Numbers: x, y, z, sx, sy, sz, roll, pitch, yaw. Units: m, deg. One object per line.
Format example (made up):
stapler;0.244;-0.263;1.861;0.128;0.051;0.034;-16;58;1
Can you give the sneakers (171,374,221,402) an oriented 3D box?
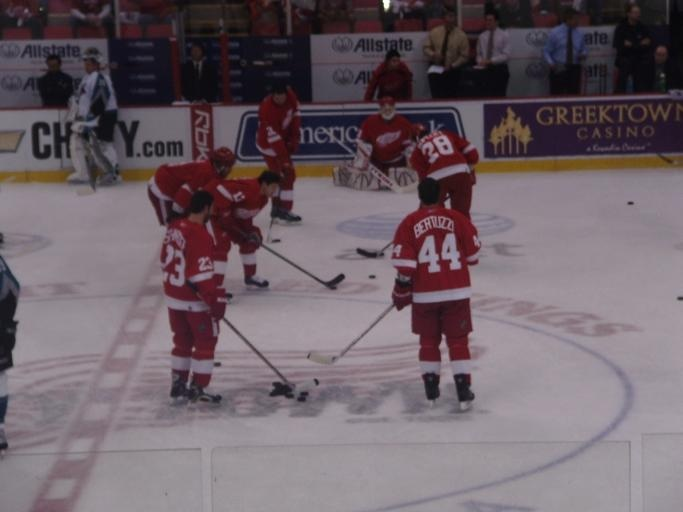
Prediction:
sneakers;-1.105;1.037;7.258;0.490;0.224;0.161;0;5;-1

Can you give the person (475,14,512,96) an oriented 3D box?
person;2.267;-3.075;13.989;0.554;1.281;0.442;6;17;27

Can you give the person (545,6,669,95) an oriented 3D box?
person;4.113;-3.107;14.159;1.676;1.511;0.507;0;3;5

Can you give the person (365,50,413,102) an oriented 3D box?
person;0.683;-2.668;13.595;0.703;0.716;0.409;-1;15;1

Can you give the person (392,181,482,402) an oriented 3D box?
person;0.734;0.279;7.173;0.657;1.683;0.587;1;15;8

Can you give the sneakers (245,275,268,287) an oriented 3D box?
sneakers;-0.837;0.239;9.336;0.262;0.115;0.094;2;19;4

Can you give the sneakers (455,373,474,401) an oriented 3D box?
sneakers;0.940;1.000;7.068;0.121;0.214;0.231;-1;7;22

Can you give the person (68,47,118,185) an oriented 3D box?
person;-3.588;-1.929;13.004;0.693;1.753;0.551;-6;15;-16

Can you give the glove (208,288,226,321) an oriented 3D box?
glove;-0.935;0.356;7.000;0.082;0.202;0.166;-1;-10;33

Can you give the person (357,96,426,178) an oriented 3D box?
person;0.609;-1.593;12.638;0.889;1.179;0.699;5;44;6

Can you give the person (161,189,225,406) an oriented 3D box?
person;-1.142;0.318;7.189;0.545;1.610;0.434;1;15;11

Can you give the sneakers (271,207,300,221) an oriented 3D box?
sneakers;-0.652;-0.485;11.052;0.387;0.159;0.129;7;27;-10

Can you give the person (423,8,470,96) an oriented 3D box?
person;1.590;-3.052;14.015;0.656;1.259;0.377;0;15;4

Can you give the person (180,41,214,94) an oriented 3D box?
person;-2.140;-2.759;13.838;0.528;0.852;0.323;-3;15;-5

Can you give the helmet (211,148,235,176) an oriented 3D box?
helmet;-1.084;-0.876;8.571;0.218;0.246;0.276;8;-7;-16
